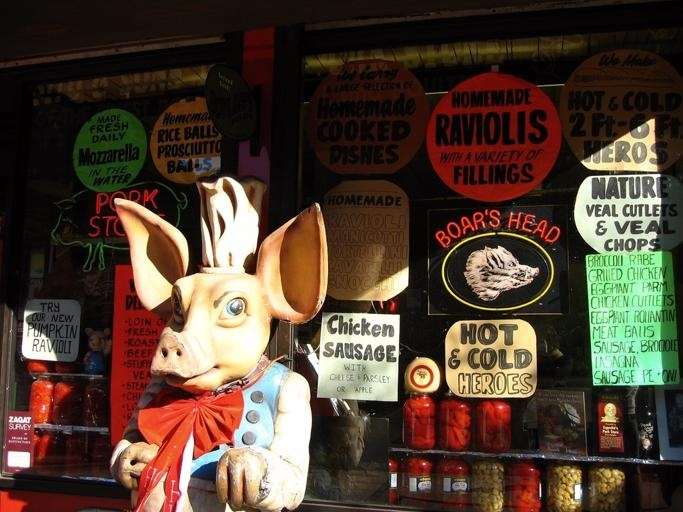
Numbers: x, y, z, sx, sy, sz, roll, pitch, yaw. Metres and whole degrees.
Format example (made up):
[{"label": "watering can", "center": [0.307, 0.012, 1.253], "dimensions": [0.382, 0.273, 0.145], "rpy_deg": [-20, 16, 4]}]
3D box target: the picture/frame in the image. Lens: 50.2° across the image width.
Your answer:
[{"label": "picture/frame", "center": [1.006, 0.040, 4.734], "dimensions": [0.841, 0.727, 0.349], "rpy_deg": [0, 4, 20]}]
